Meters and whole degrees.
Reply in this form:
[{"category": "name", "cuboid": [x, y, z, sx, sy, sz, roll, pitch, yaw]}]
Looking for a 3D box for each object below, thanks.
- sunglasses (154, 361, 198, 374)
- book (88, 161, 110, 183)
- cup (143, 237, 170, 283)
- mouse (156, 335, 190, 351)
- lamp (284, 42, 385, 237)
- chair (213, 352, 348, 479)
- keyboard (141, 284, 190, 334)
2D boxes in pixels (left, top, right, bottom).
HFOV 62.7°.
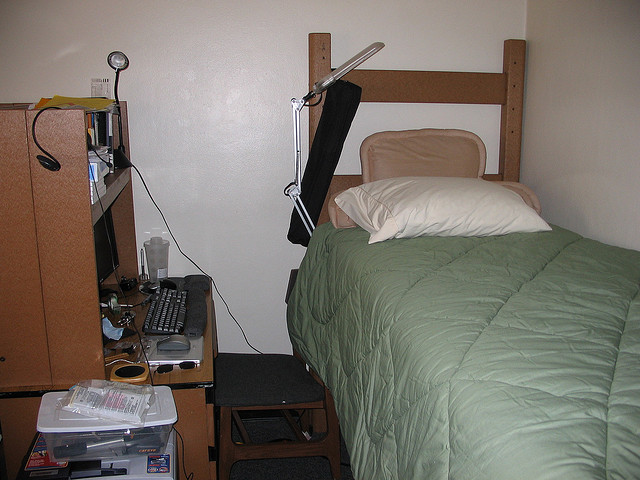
[{"category": "sunglasses", "cuboid": [-0.498, 0.440, 1.832, 0.136, 0.030, 0.031, -4, 10, -17]}, {"category": "book", "cuboid": [-0.780, -0.242, 1.850, 0.042, 0.047, 0.141, -2, 16, -10]}, {"category": "cup", "cuboid": [-0.824, 0.088, 2.713, 0.110, 0.210, 0.232, 0, 10, 6]}, {"category": "mouse", "cuboid": [-0.533, 0.368, 1.878, 0.095, 0.030, 0.051, 2, 20, -7]}, {"category": "lamp", "cuboid": [0.062, -0.532, 2.647, 0.596, 0.209, 1.070, -9, -35, 1]}, {"category": "chair", "cuboid": [-0.209, 0.711, 2.261, 0.583, 0.372, 0.714, 1, 8, -8]}, {"category": "keyboard", "cuboid": [-0.611, 0.280, 2.152, 0.085, 0.041, 0.247, 10, 33, -8]}]
